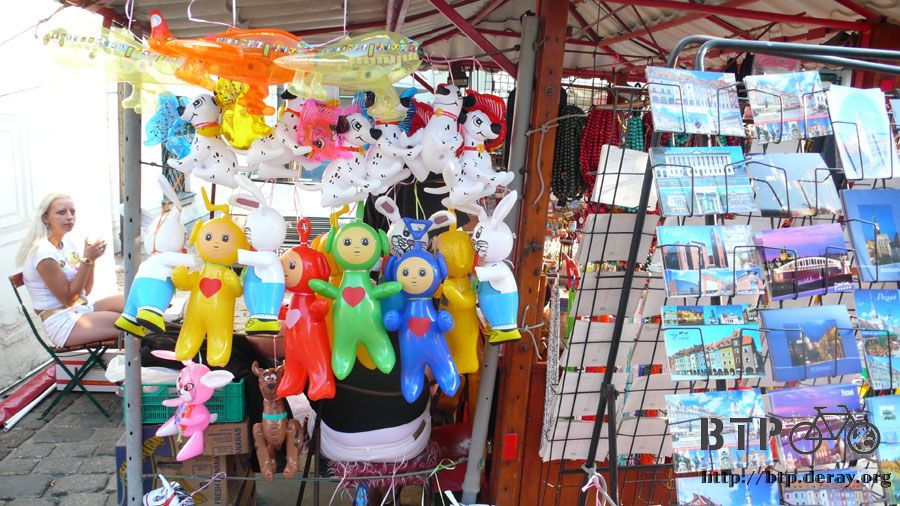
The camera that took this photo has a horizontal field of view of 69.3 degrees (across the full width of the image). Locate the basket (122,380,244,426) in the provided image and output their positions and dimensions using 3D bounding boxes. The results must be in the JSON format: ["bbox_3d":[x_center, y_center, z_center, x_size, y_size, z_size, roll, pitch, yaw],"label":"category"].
[{"bbox_3d":[-1.794,1.063,4.540,0.586,0.168,0.346,0,-1,-1],"label":"basket"}]

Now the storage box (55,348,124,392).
[{"bbox_3d":[-3.340,1.086,5.994,0.767,0.428,0.383,0,0,-5],"label":"storage box"}]
